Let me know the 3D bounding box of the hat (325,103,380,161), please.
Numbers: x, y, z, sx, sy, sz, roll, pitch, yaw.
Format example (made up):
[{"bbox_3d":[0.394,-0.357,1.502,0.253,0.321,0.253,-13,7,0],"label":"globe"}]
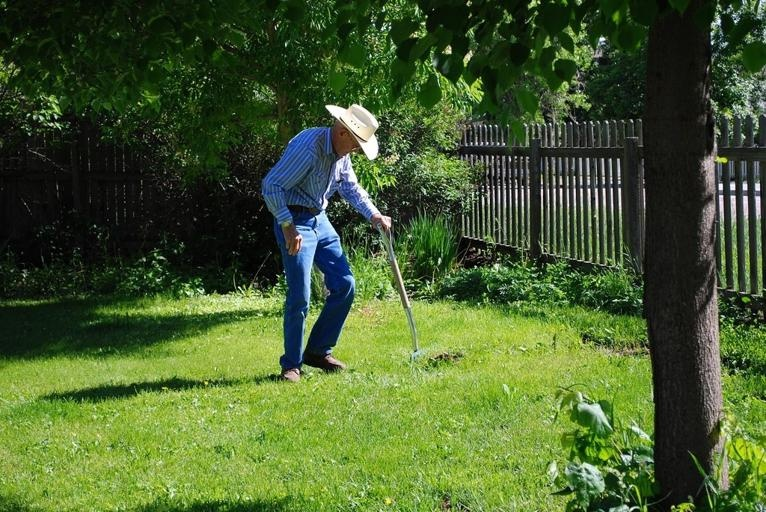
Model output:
[{"bbox_3d":[-0.234,-1.258,8.662,0.211,0.543,0.447,-40,1,22],"label":"hat"}]

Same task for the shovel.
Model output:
[{"bbox_3d":[0.166,0.367,9.403,0.351,1.471,0.242,-15,3,20],"label":"shovel"}]

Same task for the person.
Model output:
[{"bbox_3d":[-0.562,-0.132,8.899,1.200,2.554,0.727,-10,12,-31],"label":"person"}]
